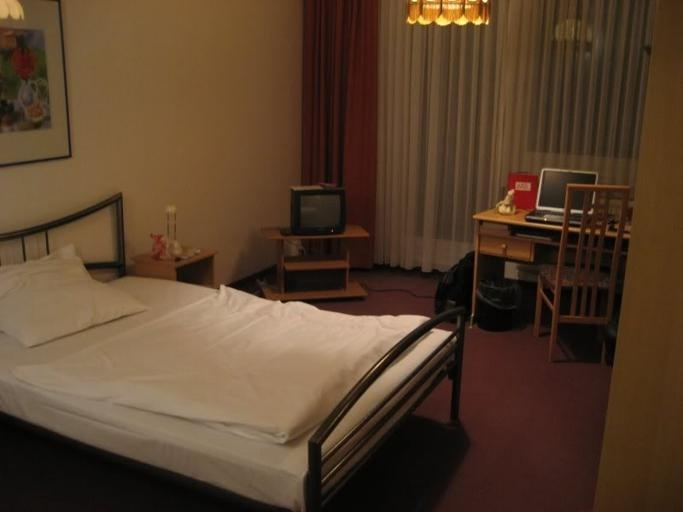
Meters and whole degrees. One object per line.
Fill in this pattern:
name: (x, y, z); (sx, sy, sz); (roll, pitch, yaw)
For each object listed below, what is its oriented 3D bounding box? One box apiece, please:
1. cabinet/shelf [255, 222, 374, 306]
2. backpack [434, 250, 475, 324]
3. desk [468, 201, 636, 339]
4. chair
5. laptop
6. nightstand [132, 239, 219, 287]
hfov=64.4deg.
cabinet/shelf: (-0.245, 0.027, 4.985); (0.897, 0.656, 0.509); (-3, 9, -9)
backpack: (1.039, 0.306, 4.735); (0.331, 0.630, 0.440); (2, -3, 32)
desk: (1.763, 0.046, 4.424); (1.234, 0.935, 0.681); (13, 32, 34)
chair: (1.829, 0.024, 4.162); (0.616, 1.255, 1.236); (8, 17, 28)
laptop: (1.786, -0.480, 4.343); (0.479, 0.417, 0.424); (7, 14, 18)
nightstand: (-1.266, 0.079, 4.150); (0.335, 0.459, 0.462); (9, 17, 22)
